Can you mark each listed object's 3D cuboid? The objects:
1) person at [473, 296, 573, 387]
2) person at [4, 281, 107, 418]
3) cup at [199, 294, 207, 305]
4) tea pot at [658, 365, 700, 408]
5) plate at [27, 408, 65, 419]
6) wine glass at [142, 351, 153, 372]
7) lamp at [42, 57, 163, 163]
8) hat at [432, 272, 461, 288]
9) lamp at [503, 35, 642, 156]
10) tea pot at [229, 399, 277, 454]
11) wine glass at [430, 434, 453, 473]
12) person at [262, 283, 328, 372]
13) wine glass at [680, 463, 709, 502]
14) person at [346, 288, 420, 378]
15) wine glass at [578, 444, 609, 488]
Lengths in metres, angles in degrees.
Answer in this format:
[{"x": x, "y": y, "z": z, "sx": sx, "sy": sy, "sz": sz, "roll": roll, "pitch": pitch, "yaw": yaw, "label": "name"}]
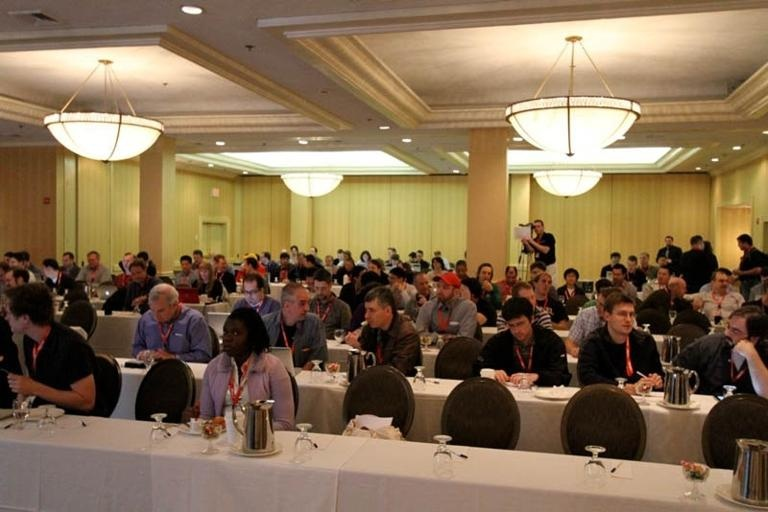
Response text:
[{"x": 1.251, "y": 0.771, "z": 5.346, "sx": 0.845, "sy": 0.698, "sz": 0.773, "roll": -2, "pitch": -5, "yaw": 22, "label": "person"}, {"x": -2.579, "y": 0.726, "z": 4.913, "sx": 0.842, "sy": 1.385, "sz": 0.930, "roll": 1, "pitch": -3, "yaw": -36, "label": "person"}, {"x": -2.926, "y": 0.693, "z": 9.690, "sx": 0.153, "sy": 0.166, "sz": 0.154, "roll": 2, "pitch": 5, "yaw": 0, "label": "cup"}, {"x": 2.361, "y": 1.013, "z": 4.615, "sx": 0.365, "sy": 0.361, "sz": 0.226, "roll": 3, "pitch": -8, "yaw": -12, "label": "tea pot"}, {"x": -2.278, "y": 1.070, "z": 4.073, "sx": 0.148, "sy": 0.021, "sz": 0.148, "roll": 2, "pitch": -5, "yaw": -2, "label": "plate"}, {"x": -2.172, "y": 0.964, "z": 5.559, "sx": 0.127, "sy": 0.183, "sz": 0.074, "roll": 7, "pitch": 2, "yaw": 27, "label": "wine glass"}, {"x": -4.380, "y": -2.280, "z": 9.327, "sx": 1.793, "sy": 1.708, "sz": 1.936, "roll": -1, "pitch": 3, "yaw": -34, "label": "lamp"}, {"x": 0.760, "y": 0.288, "z": 6.934, "sx": 0.238, "sy": 0.125, "sz": 0.165, "roll": 26, "pitch": -2, "yaw": -10, "label": "hat"}, {"x": 2.465, "y": -2.113, "z": 7.983, "sx": 1.476, "sy": 1.319, "sz": 1.488, "roll": 4, "pitch": -9, "yaw": -14, "label": "lamp"}, {"x": -0.781, "y": 1.070, "z": 3.747, "sx": 0.349, "sy": 0.354, "sz": 0.236, "roll": 0, "pitch": -2, "yaw": 1, "label": "tea pot"}, {"x": 0.366, "y": 1.172, "z": 3.638, "sx": 0.126, "sy": 0.221, "sz": 0.324, "roll": 2, "pitch": -2, "yaw": 6, "label": "wine glass"}, {"x": -0.812, "y": 0.704, "z": 5.972, "sx": 0.801, "sy": 1.096, "sz": 0.731, "roll": -2, "pitch": 4, "yaw": -11, "label": "person"}, {"x": 1.755, "y": 1.250, "z": 3.385, "sx": 0.123, "sy": 0.192, "sz": 0.258, "roll": 1, "pitch": -2, "yaw": 27, "label": "wine glass"}, {"x": 0.037, "y": 0.719, "z": 6.012, "sx": 0.739, "sy": 1.304, "sz": 0.749, "roll": 1, "pitch": -1, "yaw": -19, "label": "person"}, {"x": 1.254, "y": 1.206, "z": 3.518, "sx": 0.141, "sy": 0.221, "sz": 0.293, "roll": 1, "pitch": -2, "yaw": 21, "label": "wine glass"}]
